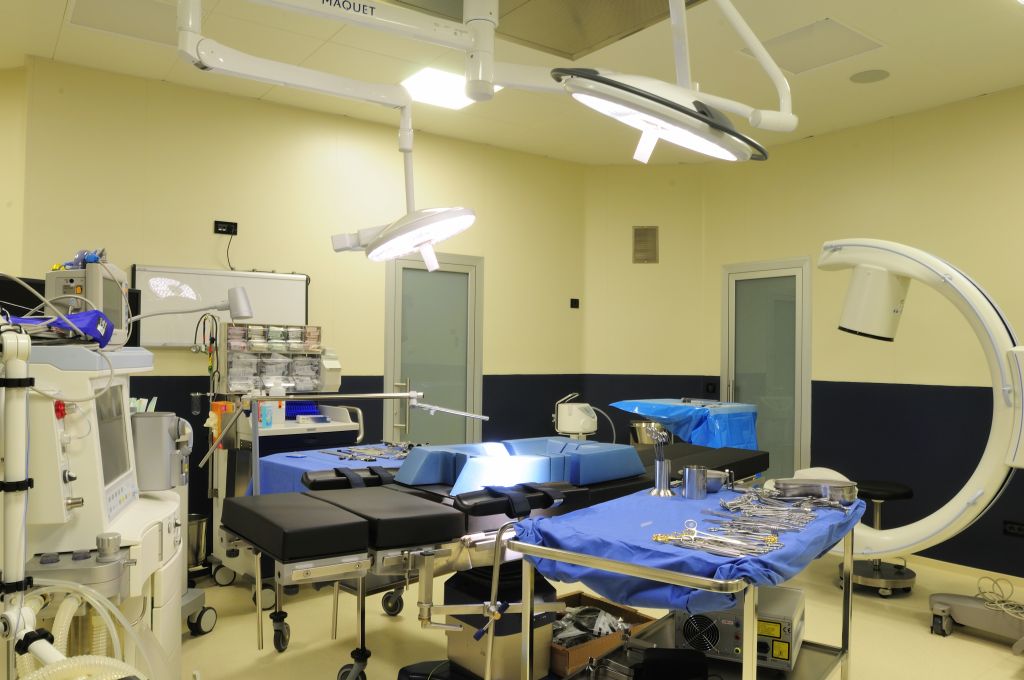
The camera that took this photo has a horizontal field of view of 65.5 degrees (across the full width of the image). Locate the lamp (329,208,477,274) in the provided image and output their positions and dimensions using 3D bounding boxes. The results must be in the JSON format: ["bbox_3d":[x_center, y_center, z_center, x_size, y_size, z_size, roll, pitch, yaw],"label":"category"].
[{"bbox_3d":[-0.613,-0.540,4.394,0.363,0.303,0.866,0,0,-40],"label":"lamp"}]

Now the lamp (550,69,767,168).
[{"bbox_3d":[0.627,-0.992,3.459,0.568,0.158,0.563,14,-2,20],"label":"lamp"}]

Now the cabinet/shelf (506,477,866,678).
[{"bbox_3d":[0.794,1.156,3.871,1.487,0.524,0.951,0,0,16],"label":"cabinet/shelf"}]

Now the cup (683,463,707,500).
[{"bbox_3d":[0.983,0.767,4.280,0.156,0.163,0.151,0,-7,0],"label":"cup"}]

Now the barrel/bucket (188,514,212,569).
[{"bbox_3d":[-2.339,1.505,5.965,0.163,0.376,0.161,1,0,0],"label":"barrel/bucket"}]

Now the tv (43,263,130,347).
[{"bbox_3d":[-2.234,-0.188,4.220,0.244,0.401,0.445,-3,-1,-8],"label":"tv"}]
